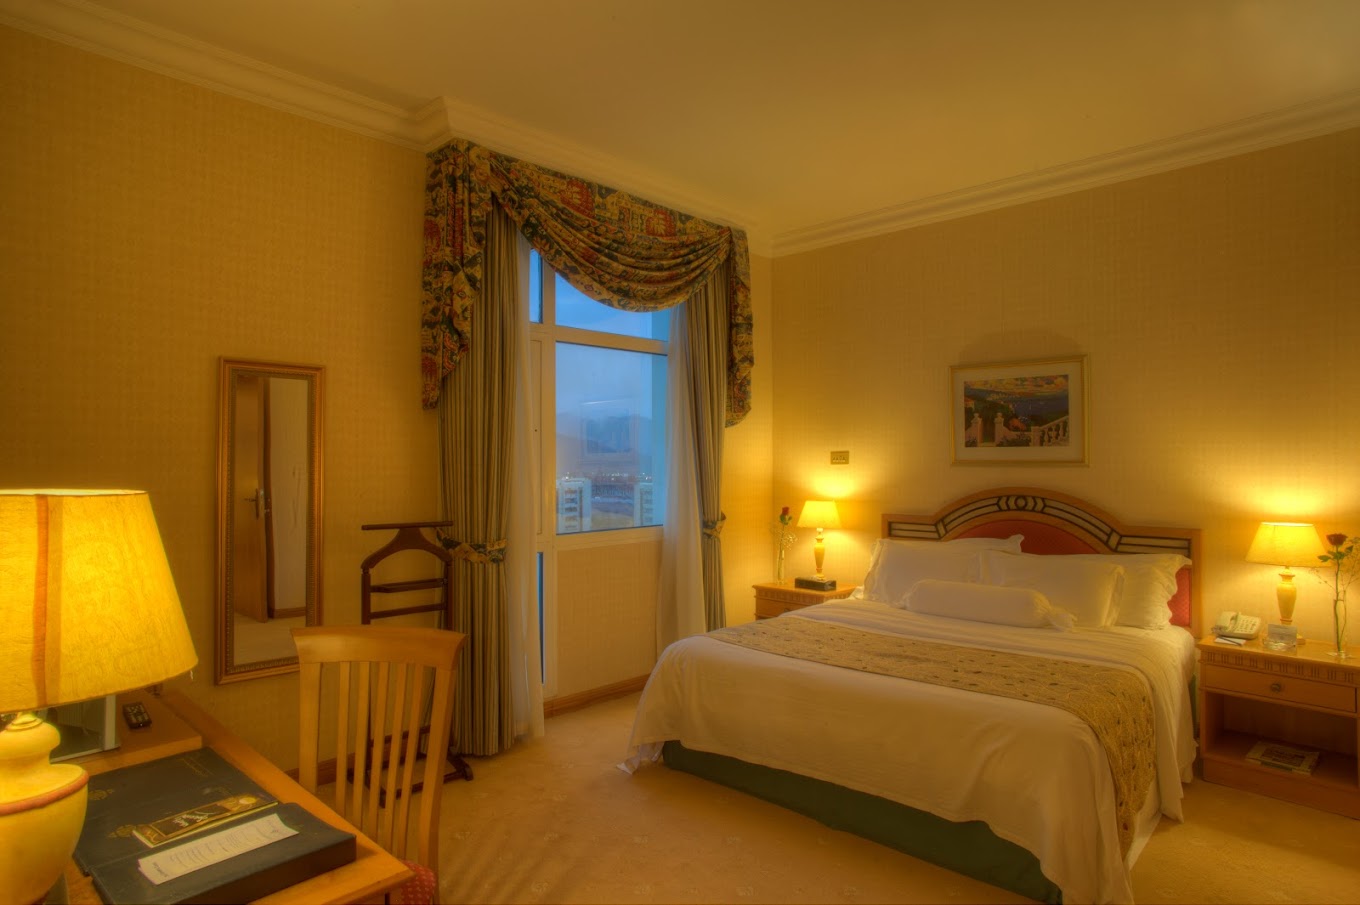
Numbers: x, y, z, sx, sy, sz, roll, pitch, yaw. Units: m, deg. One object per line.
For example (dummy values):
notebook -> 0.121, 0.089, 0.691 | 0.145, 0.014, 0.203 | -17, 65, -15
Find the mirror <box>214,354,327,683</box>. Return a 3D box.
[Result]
mirror -> -2.292, 0.375, 5.187 | 0.604, 1.844, 0.096 | 0, 0, -41

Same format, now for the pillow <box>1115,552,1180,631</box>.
pillow -> 2.916, 0.859, 5.728 | 0.424, 0.439, 0.131 | 4, -7, 40

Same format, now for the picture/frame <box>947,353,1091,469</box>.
picture/frame -> 2.428, -0.303, 6.450 | 0.801, 0.685, 0.082 | 1, 2, 41

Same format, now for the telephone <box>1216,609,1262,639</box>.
telephone -> 3.350, 1.027, 5.502 | 0.172, 0.065, 0.176 | -3, 25, 44

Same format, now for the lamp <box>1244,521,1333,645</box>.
lamp -> 3.609, 0.739, 5.464 | 0.418, 0.597, 0.426 | 2, -8, 27
